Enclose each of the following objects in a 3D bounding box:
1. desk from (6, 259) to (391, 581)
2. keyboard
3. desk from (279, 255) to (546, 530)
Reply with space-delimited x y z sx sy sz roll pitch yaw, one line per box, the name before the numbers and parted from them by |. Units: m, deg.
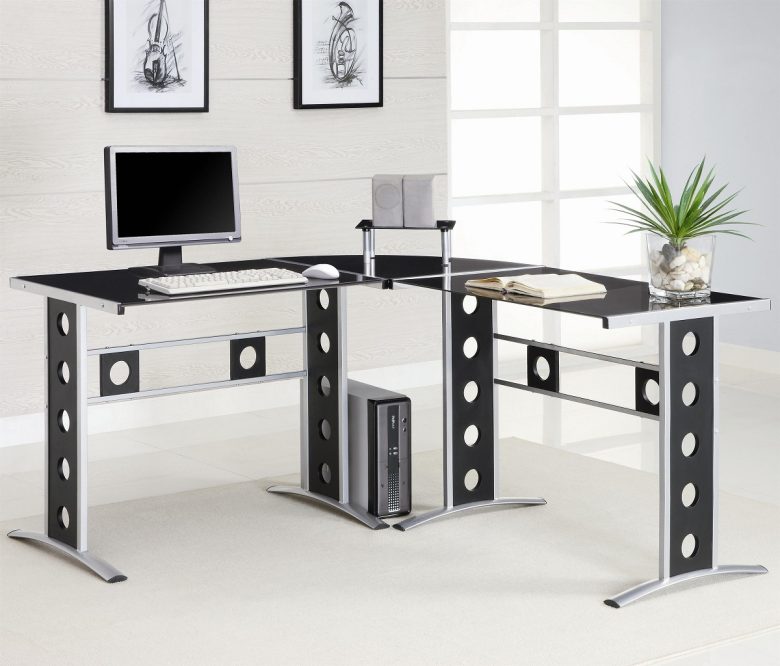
desk | -0.711 0.169 2.787 0.972 1.115 1.421 6 8 40
keyboard | -0.502 -0.165 2.365 0.492 0.056 0.305 -5 9 -29
desk | 0.052 0.190 3.014 0.694 0.910 0.977 -3 5 -38
